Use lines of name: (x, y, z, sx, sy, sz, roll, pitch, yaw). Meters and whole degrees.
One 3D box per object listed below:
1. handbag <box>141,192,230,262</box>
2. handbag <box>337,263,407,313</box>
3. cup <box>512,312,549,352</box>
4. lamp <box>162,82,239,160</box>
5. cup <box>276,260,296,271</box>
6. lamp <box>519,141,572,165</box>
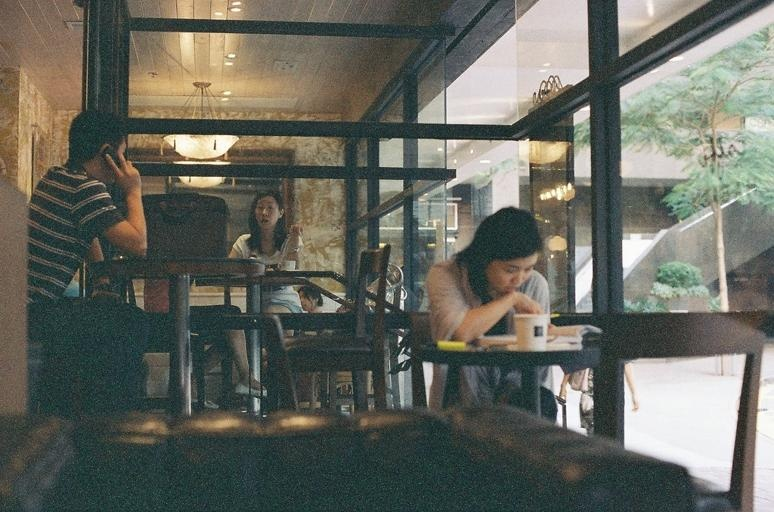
handbag: (-0.492, -0.076, 1.834, 0.241, 0.215, 0.161, 0, -1, 10)
handbag: (-0.027, 0.089, 2.252, 0.147, 0.163, 0.123, 6, -25, 45)
cup: (0.245, 0.128, 1.273, 0.060, 0.044, 0.057, 2, -3, 0)
lamp: (-0.515, -0.376, 2.093, 0.161, 0.222, 0.128, 10, 12, 27)
cup: (-0.279, 0.027, 2.101, 0.037, 0.025, 0.028, -2, 2, -10)
lamp: (0.586, -0.380, 2.736, 0.120, 0.029, 0.122, 1, -21, 14)
